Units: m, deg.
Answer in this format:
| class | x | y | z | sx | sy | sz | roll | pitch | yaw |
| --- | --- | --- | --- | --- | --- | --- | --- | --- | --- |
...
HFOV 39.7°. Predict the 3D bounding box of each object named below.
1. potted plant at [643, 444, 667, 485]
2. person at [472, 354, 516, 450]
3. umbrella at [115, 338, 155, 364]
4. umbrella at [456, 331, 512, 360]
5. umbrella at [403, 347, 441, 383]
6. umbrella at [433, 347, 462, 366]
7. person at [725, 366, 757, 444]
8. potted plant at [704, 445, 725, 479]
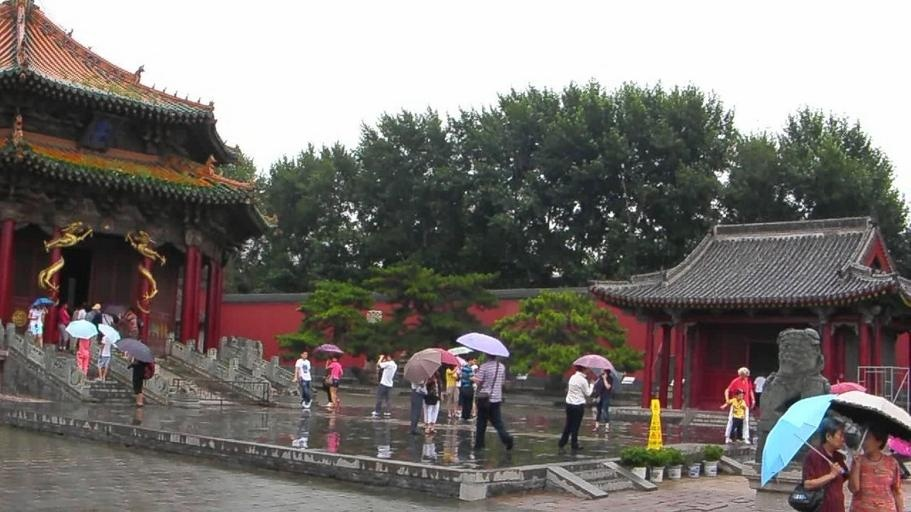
| class | x | y | z | sx | sy | sz | roll | pitch | yaw |
| --- | --- | --- | --- | --- | --- | --- | --- | --- | --- |
| potted plant | 6.049 | 6.352 | 38.088 | 0.771 | 0.878 | 0.805 | 13 | -14 | -34 |
| person | 1.237 | 4.411 | 38.620 | 1.399 | 3.152 | 1.008 | 2 | -3 | 12 |
| umbrella | -10.260 | 3.042 | 40.593 | 0.959 | 0.316 | 0.929 | 23 | 2 | 6 |
| umbrella | 0.854 | 2.766 | 39.210 | 1.069 | 0.783 | 1.684 | 13 | -13 | -41 |
| umbrella | -1.039 | 3.541 | 40.281 | 1.067 | 1.121 | 0.814 | 5 | -10 | -3 |
| umbrella | -0.247 | 3.367 | 41.032 | 0.953 | 0.320 | 0.937 | 1 | -16 | 34 |
| person | 9.644 | 4.865 | 42.462 | 1.139 | 3.217 | 1.256 | -2 | -1 | 0 |
| potted plant | 7.922 | 6.356 | 39.087 | 0.758 | 0.948 | 0.327 | 11 | -12 | -32 |
